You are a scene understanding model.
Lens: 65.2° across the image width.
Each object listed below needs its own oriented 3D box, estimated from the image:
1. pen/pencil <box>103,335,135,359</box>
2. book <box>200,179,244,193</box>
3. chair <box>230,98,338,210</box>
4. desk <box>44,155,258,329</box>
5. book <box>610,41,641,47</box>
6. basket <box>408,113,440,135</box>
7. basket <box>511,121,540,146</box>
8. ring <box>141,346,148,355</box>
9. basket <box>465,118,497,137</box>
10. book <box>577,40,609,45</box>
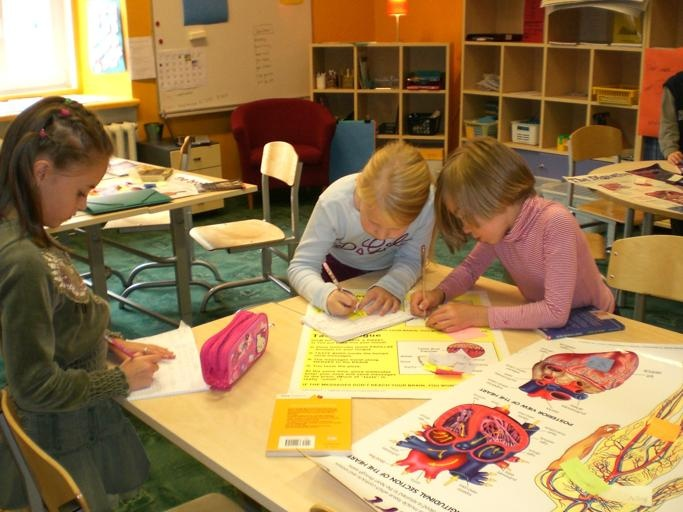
[{"bbox_3d":[-0.563,0.231,1.344,0.131,0.013,0.014,29,-14,37],"label":"pen/pencil"},{"bbox_3d":[-0.650,-0.382,2.912,0.238,0.041,0.198,-3,11,-10],"label":"book"},{"bbox_3d":[-0.585,-1.042,5.522,1.250,1.041,0.947,-2,20,-11],"label":"chair"},{"bbox_3d":[-1.052,-0.032,3.038,1.104,0.611,1.115,20,31,32],"label":"desk"},{"bbox_3d":[2.331,-1.737,4.374,0.146,0.031,0.134,8,15,29],"label":"book"},{"bbox_3d":[0.904,-1.461,5.911,0.335,0.181,0.266,2,18,13],"label":"basket"},{"bbox_3d":[1.747,-1.185,5.160,0.265,0.141,0.246,-5,11,-21],"label":"basket"},{"bbox_3d":[-0.488,0.236,1.325,0.014,0.010,0.014,2,3,0],"label":"ring"},{"bbox_3d":[1.412,-1.310,5.525,0.319,0.176,0.393,-14,19,-39],"label":"basket"},{"bbox_3d":[2.221,-1.896,4.720,0.191,0.041,0.195,-5,14,-19],"label":"book"}]
